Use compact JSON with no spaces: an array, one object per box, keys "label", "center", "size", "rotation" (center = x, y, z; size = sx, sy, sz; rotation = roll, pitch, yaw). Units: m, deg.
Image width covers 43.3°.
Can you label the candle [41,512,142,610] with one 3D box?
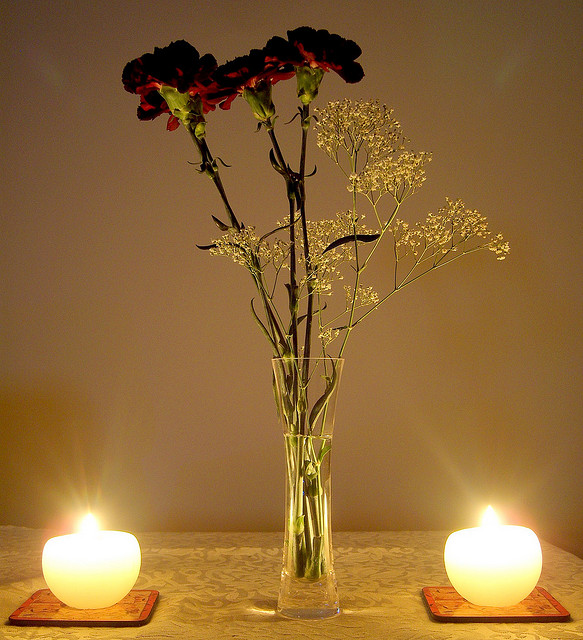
[{"label":"candle","center":[-0.240,0.286,0.884],"size":[0.110,0.118,0.124],"rotation":[11,-33,-15]}]

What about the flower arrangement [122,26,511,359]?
[{"label":"flower arrangement","center":[-0.025,-0.118,0.957],"size":[0.353,0.443,0.421],"rotation":[-9,-2,39]}]
